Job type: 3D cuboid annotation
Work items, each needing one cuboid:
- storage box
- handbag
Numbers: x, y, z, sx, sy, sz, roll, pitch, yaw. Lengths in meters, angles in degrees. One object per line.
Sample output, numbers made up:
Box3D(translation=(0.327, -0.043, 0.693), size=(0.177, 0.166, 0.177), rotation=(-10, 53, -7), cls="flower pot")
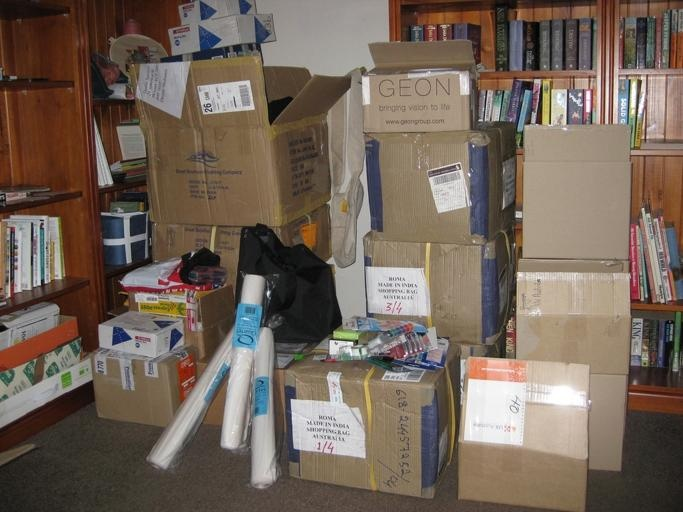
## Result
Box3D(translation=(0.108, 0.111, 2.612), size=(1.886, 1.894, 0.655), rotation=(3, 13, 20), cls="storage box")
Box3D(translation=(-0.289, 0.130, 2.864), size=(0.505, 0.538, 0.322), rotation=(2, 20, 0), cls="handbag")
